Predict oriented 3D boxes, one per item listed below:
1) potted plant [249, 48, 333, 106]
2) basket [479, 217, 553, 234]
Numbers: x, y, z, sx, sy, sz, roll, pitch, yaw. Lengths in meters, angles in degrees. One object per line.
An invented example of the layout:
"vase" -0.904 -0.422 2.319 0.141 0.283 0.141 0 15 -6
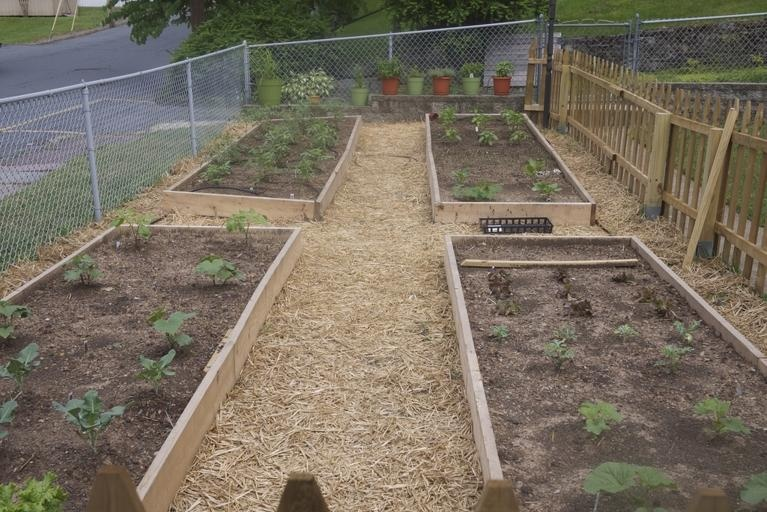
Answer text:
"potted plant" -2.158 -3.934 12.616 1.653 1.167 2.031 11 27 22
"basket" 1.532 -0.350 6.617 0.660 0.106 0.327 -1 22 0
